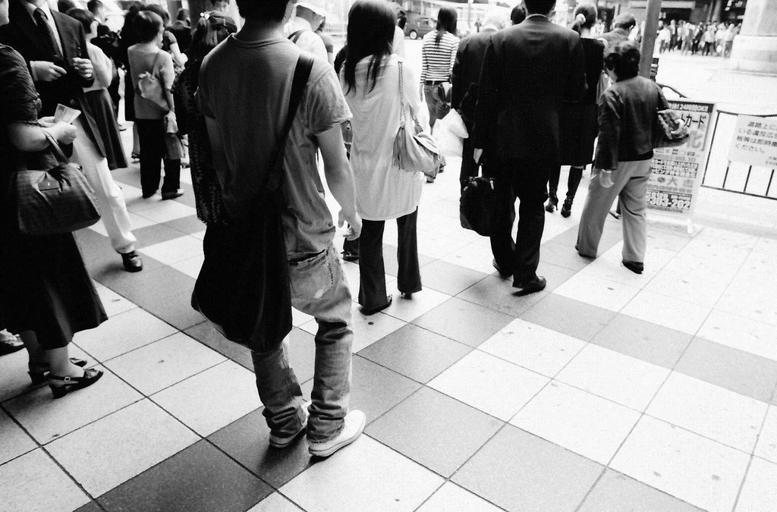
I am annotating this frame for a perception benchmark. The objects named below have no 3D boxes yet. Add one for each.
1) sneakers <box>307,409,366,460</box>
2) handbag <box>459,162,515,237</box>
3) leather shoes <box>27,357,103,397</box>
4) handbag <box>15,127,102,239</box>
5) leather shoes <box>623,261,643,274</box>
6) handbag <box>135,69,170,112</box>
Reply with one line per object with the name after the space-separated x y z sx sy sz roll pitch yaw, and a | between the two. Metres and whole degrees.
-0.302 1.107 3.301 0.158 0.173 0.420 22 37 32 | sneakers
0.883 -0.516 4.852 0.557 0.547 0.564 -1 33 -8 | handbag
-2.271 0.876 3.672 0.281 0.129 0.350 18 25 37 | leather shoes
-2.136 -0.459 3.267 0.443 0.579 0.350 -14 31 -25 | handbag
2.422 0.115 5.081 0.083 0.099 0.224 -3 11 -32 | leather shoes
-2.849 -1.984 6.256 0.304 0.412 0.165 0 22 11 | handbag
